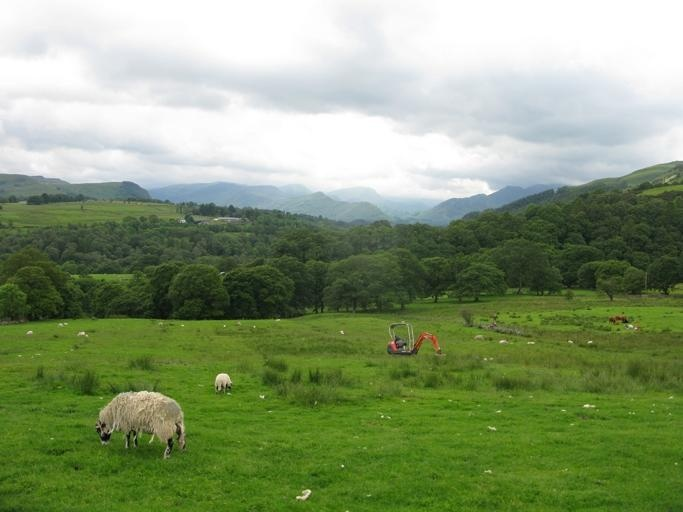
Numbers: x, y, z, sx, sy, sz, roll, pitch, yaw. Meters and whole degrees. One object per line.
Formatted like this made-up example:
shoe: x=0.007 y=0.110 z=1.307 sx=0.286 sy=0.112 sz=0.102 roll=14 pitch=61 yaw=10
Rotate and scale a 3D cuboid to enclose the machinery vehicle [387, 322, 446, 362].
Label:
machinery vehicle: x=6.934 y=7.679 z=55.282 sx=5.875 sy=3.022 sz=2.215 roll=-2 pitch=0 yaw=2
